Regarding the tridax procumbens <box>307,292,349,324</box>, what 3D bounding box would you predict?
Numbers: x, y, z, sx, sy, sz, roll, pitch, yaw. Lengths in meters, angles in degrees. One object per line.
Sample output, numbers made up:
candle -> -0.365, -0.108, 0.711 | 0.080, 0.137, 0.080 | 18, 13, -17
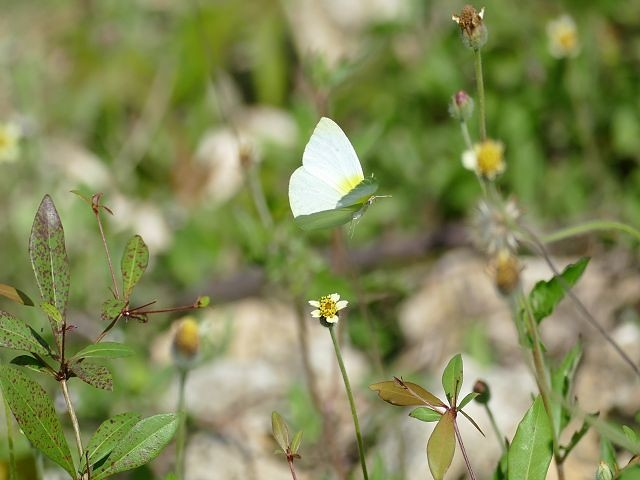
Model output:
tridax procumbens -> 0.013, 0.152, 1.568 | 0.074, 0.044, 0.083 | -5, -22, 35

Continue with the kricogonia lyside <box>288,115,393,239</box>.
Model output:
kricogonia lyside -> 0.054, -0.074, 1.638 | 0.146, 0.165, 0.187 | 6, 12, -9

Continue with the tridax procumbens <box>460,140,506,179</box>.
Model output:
tridax procumbens -> 0.329, -0.169, 1.568 | 0.082, 0.071, 0.098 | -21, 18, 1

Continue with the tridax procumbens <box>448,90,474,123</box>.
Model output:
tridax procumbens -> 0.281, -0.277, 1.564 | 0.041, 0.054, 0.048 | 2, 46, 19
